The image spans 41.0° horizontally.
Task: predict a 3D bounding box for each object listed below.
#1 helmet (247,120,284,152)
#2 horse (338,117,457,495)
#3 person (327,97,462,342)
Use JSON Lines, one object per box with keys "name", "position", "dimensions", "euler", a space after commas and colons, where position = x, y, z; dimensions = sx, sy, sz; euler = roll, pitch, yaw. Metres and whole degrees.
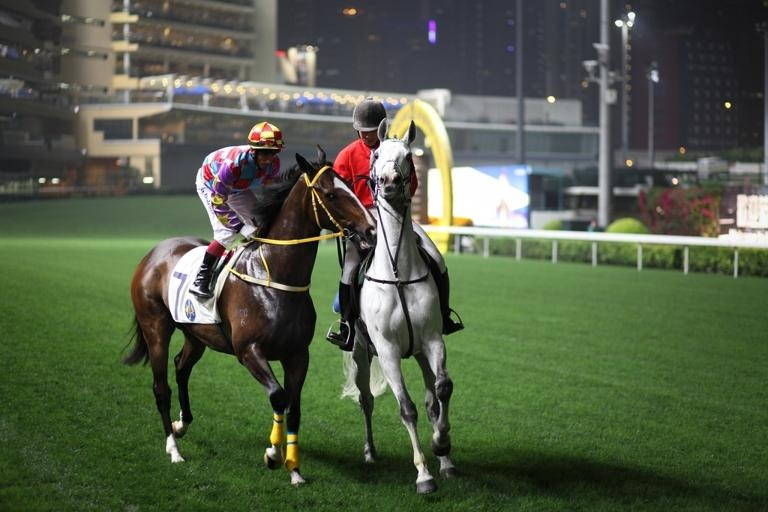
{"name": "helmet", "position": [-1.129, -1.117, 9.506], "dimensions": [0.292, 0.200, 0.231], "euler": [10, 16, 41]}
{"name": "horse", "position": [0.147, 0.421, 9.518], "dimensions": [0.728, 3.362, 1.198], "euler": [0, 4, -37]}
{"name": "person", "position": [-0.011, -0.290, 10.010], "dimensions": [1.188, 2.488, 1.090], "euler": [-13, 8, 2]}
